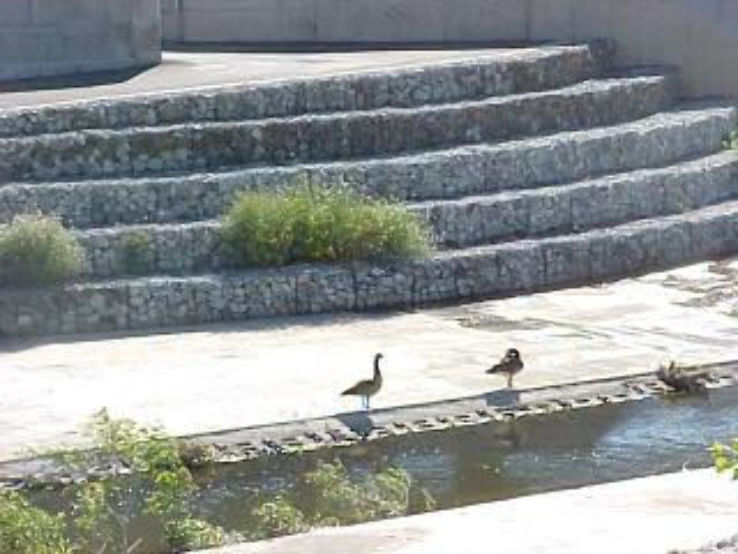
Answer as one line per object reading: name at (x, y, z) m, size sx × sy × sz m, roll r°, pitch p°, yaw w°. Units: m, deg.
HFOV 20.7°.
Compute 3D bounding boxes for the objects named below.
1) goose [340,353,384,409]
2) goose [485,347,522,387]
goose at (-0.050, 0.968, 19.766) m, size 0.406 × 0.516 × 0.702 m, roll -3°, pitch 10°, yaw 0°
goose at (1.349, 0.875, 20.106) m, size 0.357 × 0.372 × 0.504 m, roll -2°, pitch 10°, yaw 5°
